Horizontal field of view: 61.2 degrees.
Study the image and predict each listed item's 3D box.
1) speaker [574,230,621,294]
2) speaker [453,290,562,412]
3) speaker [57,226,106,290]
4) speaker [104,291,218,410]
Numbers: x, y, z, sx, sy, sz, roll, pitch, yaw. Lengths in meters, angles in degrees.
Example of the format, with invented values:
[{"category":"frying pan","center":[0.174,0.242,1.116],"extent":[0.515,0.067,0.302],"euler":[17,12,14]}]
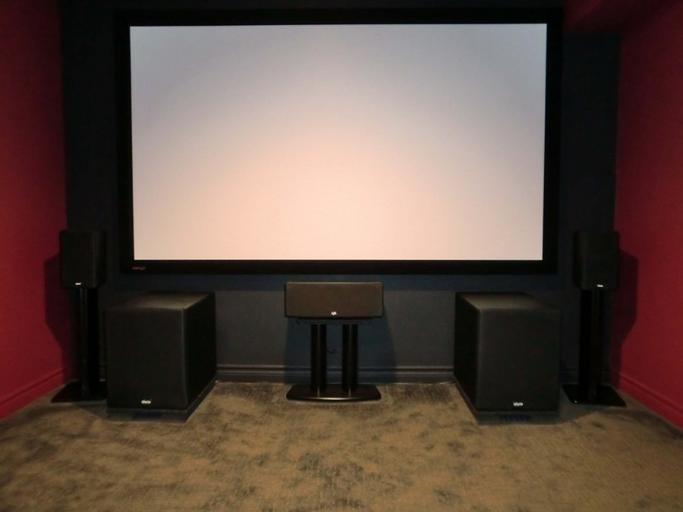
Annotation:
[{"category":"speaker","center":[1.786,0.079,3.983],"extent":[0.238,0.435,0.248],"euler":[4,-21,17]},{"category":"speaker","center":[1.132,0.663,4.118],"extent":[0.604,0.733,0.678],"euler":[-1,0,1]},{"category":"speaker","center":[-1.834,0.056,4.030],"extent":[0.240,0.419,0.252],"euler":[-22,-21,41]},{"category":"speaker","center":[-1.254,0.648,4.150],"extent":[0.634,0.775,0.689],"euler":[0,0,-1]}]
